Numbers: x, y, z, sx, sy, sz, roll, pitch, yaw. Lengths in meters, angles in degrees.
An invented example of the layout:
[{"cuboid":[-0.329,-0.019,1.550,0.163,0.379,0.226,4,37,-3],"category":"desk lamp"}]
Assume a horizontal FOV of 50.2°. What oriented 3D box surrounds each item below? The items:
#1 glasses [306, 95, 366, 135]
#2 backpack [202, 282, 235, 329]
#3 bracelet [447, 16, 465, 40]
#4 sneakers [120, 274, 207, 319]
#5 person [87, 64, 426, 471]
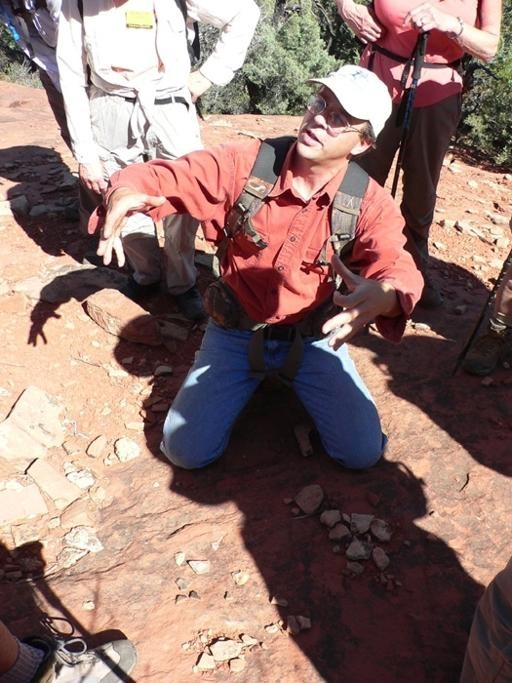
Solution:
[{"cuboid":[0.329,-0.907,2.196,0.215,0.062,0.157,2,30,-47],"category":"glasses"},{"cuboid":[-0.168,-0.192,2.777,0.253,0.221,0.160,-2,36,2],"category":"backpack"},{"cuboid":[1.033,-1.616,2.835,0.075,0.041,0.086,5,72,42],"category":"bracelet"},{"cuboid":[-0.632,-0.296,3.678,0.446,0.170,0.130,27,21,-2],"category":"sneakers"},{"cuboid":[0.092,-0.228,2.504,1.311,1.786,1.001,17,42,17],"category":"person"}]
